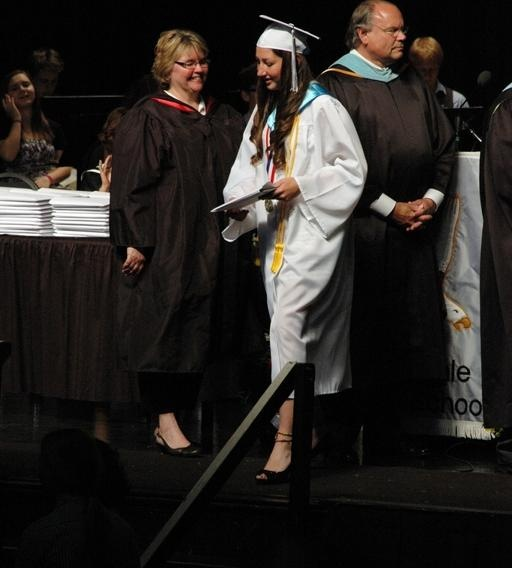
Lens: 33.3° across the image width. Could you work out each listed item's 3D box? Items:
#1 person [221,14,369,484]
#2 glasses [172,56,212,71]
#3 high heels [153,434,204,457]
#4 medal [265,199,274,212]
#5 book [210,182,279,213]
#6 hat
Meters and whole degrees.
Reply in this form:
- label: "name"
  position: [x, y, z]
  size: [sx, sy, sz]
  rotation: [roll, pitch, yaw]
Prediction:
- label: "person"
  position: [0.154, -0.302, 3.373]
  size: [0.606, 1.426, 0.458]
  rotation: [6, 10, 7]
- label: "glasses"
  position: [-0.243, -0.935, 3.600]
  size: [0.080, 0.061, 0.179]
  rotation: [12, 12, 40]
- label: "high heels"
  position: [-0.331, 0.698, 3.669]
  size: [0.187, 0.064, 0.076]
  rotation: [-2, -8, 31]
- label: "medal"
  position: [0.059, -0.315, 3.395]
  size: [0.043, 0.038, 0.011]
  rotation: [6, 10, 37]
- label: "book"
  position: [-0.024, -0.331, 3.210]
  size: [0.199, 0.116, 0.267]
  rotation: [7, 9, 17]
- label: "hat"
  position: [0.107, -0.902, 3.398]
  size: [0.318, 0.308, 0.322]
  rotation: [-3, 11, -2]
